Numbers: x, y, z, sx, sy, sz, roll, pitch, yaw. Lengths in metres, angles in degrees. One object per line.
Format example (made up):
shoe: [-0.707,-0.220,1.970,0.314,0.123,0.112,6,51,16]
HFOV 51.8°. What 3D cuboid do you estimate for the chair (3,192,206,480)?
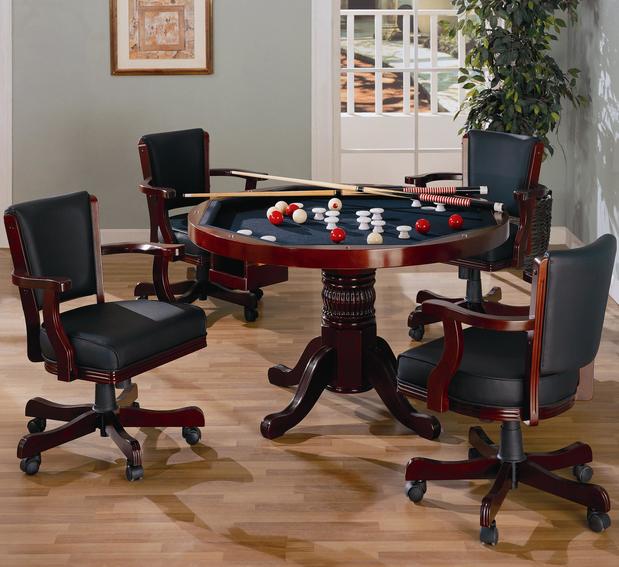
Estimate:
chair: [-0.767,0.164,2.380,0.707,0.988,0.665,-5,16,-21]

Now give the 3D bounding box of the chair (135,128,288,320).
chair: [-0.431,-0.480,3.938,1.034,1.186,0.957,13,20,39]

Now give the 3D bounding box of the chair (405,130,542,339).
chair: [1.040,-0.229,3.424,0.703,1.079,0.876,11,15,42]

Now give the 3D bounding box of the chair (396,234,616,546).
chair: [0.637,0.292,1.993,0.702,0.914,0.489,0,15,-2]
